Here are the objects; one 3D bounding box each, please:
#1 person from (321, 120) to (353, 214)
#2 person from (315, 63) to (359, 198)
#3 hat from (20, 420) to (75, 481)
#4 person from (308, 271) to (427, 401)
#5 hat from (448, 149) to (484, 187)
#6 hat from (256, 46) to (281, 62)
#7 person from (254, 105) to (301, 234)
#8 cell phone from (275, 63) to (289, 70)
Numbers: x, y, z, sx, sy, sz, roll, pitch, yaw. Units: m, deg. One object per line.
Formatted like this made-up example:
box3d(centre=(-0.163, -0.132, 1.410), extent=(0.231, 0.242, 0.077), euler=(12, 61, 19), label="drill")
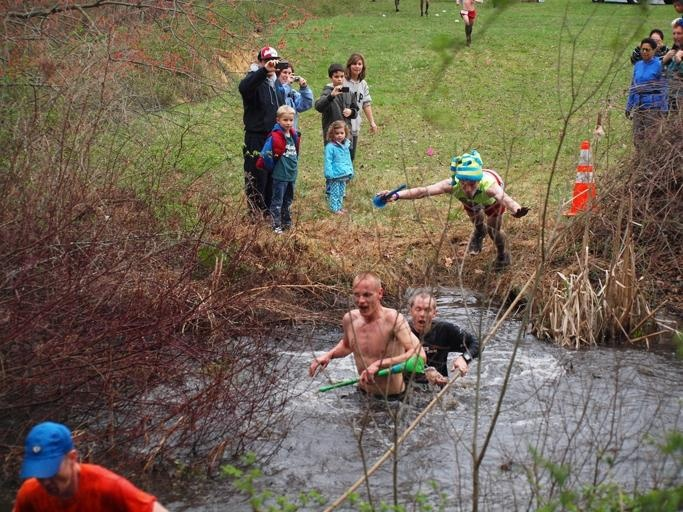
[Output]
box3d(centre=(-0.044, -1.302, 12.495), extent=(0.391, 1.342, 0.389), euler=(0, 21, 0), label="person")
box3d(centre=(-0.067, -1.907, 12.752), extent=(0.711, 1.810, 0.564), euler=(-12, 20, -35), label="person")
box3d(centre=(-1.967, 1.257, 5.607), extent=(0.307, 0.274, 0.488), euler=(0, 17, 4), label="hat")
box3d(centre=(0.217, 0.850, 8.530), extent=(0.983, 1.417, 0.783), euler=(3, 17, 29), label="person")
box3d(centre=(1.492, -1.030, 9.994), extent=(0.450, 0.362, 0.338), euler=(-10, -10, 42), label="hat")
box3d(centre=(-0.924, -2.569, 10.854), extent=(0.230, 0.210, 0.442), euler=(-9, 25, -22), label="hat")
box3d(centre=(-0.850, -1.138, 11.256), extent=(0.430, 1.670, 0.897), euler=(4, 22, 11), label="person")
box3d(centre=(-0.784, -2.497, 11.131), extent=(0.133, 0.041, 0.148), euler=(-7, 3, 5), label="cell phone")
